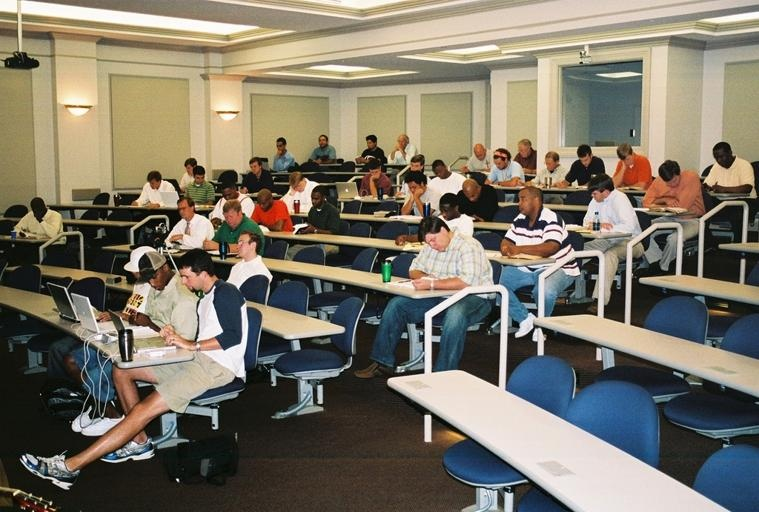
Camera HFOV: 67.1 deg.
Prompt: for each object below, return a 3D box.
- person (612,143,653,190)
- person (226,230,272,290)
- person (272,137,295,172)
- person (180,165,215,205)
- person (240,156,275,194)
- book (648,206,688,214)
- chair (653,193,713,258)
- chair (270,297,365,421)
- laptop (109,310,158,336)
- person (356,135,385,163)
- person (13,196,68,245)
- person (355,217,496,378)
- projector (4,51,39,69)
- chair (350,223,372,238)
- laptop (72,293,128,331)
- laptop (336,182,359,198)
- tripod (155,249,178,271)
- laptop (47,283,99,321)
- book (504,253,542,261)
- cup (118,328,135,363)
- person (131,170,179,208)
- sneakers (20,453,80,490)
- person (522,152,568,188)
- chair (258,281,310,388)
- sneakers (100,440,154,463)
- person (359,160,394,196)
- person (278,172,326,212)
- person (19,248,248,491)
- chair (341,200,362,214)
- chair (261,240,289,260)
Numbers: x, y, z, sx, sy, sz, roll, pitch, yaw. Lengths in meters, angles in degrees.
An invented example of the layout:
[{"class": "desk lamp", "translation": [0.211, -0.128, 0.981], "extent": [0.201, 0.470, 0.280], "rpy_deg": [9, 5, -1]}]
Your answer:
[{"class": "person", "translation": [4.157, -1.441, 9.508], "extent": [0.843, 0.757, 0.613], "rpy_deg": [-7, 14, 3]}, {"class": "person", "translation": [-1.314, 0.044, 5.717], "extent": [0.391, 0.582, 0.763], "rpy_deg": [1, 2, -42]}, {"class": "person", "translation": [-2.421, -2.423, 13.913], "extent": [0.723, 0.814, 0.716], "rpy_deg": [7, 18, 8]}, {"class": "person", "translation": [-3.579, -1.321, 11.208], "extent": [0.655, 0.741, 0.625], "rpy_deg": [9, 19, 12]}, {"class": "person", "translation": [-2.494, -1.500, 11.486], "extent": [0.774, 0.831, 0.564], "rpy_deg": [-5, 7, -15]}, {"class": "book", "translation": [3.742, -0.597, 7.409], "extent": [0.454, 0.070, 0.355], "rpy_deg": [6, 12, 36]}, {"class": "chair", "translation": [3.952, -0.463, 7.575], "extent": [0.687, 1.276, 0.915], "rpy_deg": [4, 12, 23]}, {"class": "chair", "translation": [-0.496, 0.789, 4.434], "extent": [0.793, 0.805, 0.491], "rpy_deg": [-4, 4, -18]}, {"class": "laptop", "translation": [-1.835, 0.532, 4.216], "extent": [0.254, 0.096, 0.313], "rpy_deg": [1, 1, -32]}, {"class": "person", "translation": [-0.214, -2.549, 13.668], "extent": [0.664, 0.697, 0.833], "rpy_deg": [2, 11, 16]}, {"class": "person", "translation": [-5.384, -0.511, 9.144], "extent": [0.800, 0.696, 0.951], "rpy_deg": [3, 5, 22]}, {"class": "person", "translation": [0.327, 0.349, 5.036], "extent": [1.238, 1.274, 1.450], "rpy_deg": [-6, 7, 28]}, {"class": "projector", "translation": [-5.198, -2.845, 8.248], "extent": [0.347, 0.274, 0.484], "rpy_deg": [-8, 13, -35]}, {"class": "chair", "translation": [-0.262, -0.329, 7.635], "extent": [0.209, 0.211, 0.221], "rpy_deg": [1, 4, 26]}, {"class": "laptop", "translation": [-2.100, 0.440, 4.401], "extent": [0.396, 0.239, 0.451], "rpy_deg": [0, 6, -44]}, {"class": "laptop", "translation": [-0.611, -1.217, 10.612], "extent": [0.479, 0.280, 0.319], "rpy_deg": [4, 12, 25]}, {"class": "tripod", "translation": [-1.819, 0.036, 4.860], "extent": [0.161, 0.181, 0.084], "rpy_deg": [-4, -15, 0]}, {"class": "laptop", "translation": [-2.564, 0.389, 4.772], "extent": [0.302, 0.198, 0.224], "rpy_deg": [6, 11, 39]}, {"class": "book", "translation": [1.448, 0.013, 5.672], "extent": [0.329, 0.020, 0.294], "rpy_deg": [1, 10, 11]}, {"class": "cup", "translation": [-1.658, 0.576, 3.722], "extent": [0.083, 0.208, 0.113], "rpy_deg": [-6, 13, -25]}, {"class": "person", "translation": [-4.399, -1.166, 11.130], "extent": [0.790, 0.846, 0.683], "rpy_deg": [-2, 16, 6]}, {"class": "sneakers", "translation": [-2.150, 1.389, 3.739], "extent": [0.408, 0.213, 0.168], "rpy_deg": [0, 11, 2]}, {"class": "person", "translation": [3.080, -1.511, 10.460], "extent": [0.637, 0.668, 0.844], "rpy_deg": [-14, 15, -22]}, {"class": "chair", "translation": [-0.873, 0.651, 4.900], "extent": [0.460, 0.549, 0.441], "rpy_deg": [-8, -16, -23]}, {"class": "sneakers", "translation": [-1.727, 1.350, 3.995], "extent": [0.414, 0.146, 0.140], "rpy_deg": [3, -5, -26]}, {"class": "person", "translation": [-0.088, -1.280, 10.452], "extent": [0.560, 0.790, 0.527], "rpy_deg": [13, 19, 33]}, {"class": "person", "translation": [-1.365, -1.033, 9.472], "extent": [0.710, 0.552, 0.828], "rpy_deg": [3, 26, 20]}, {"class": "person", "translation": [-1.551, 0.726, 3.802], "extent": [0.825, 1.315, 1.623], "rpy_deg": [8, 11, 37]}, {"class": "chair", "translation": [-0.464, -0.828, 9.643], "extent": [0.255, 0.279, 0.303], "rpy_deg": [3, 9, 30]}, {"class": "chair", "translation": [-1.217, -0.086, 6.868], "extent": [0.277, 0.318, 0.280], "rpy_deg": [6, 10, 29]}]
